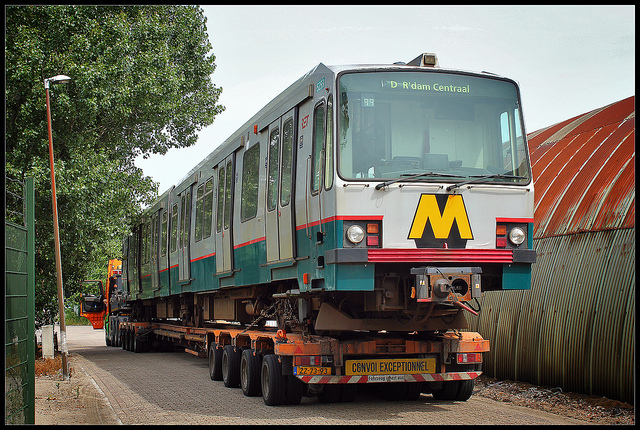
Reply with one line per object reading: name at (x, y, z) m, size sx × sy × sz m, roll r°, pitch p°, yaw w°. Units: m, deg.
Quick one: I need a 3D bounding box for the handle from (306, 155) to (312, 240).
handle at (-0.174, -0.317, 8.905) m, size 0.084 × 1.469 × 0.206 m, roll 5°, pitch -9°, yaw -20°

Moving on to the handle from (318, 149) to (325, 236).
handle at (0.056, -0.378, 8.434) m, size 0.095 × 1.384 × 0.227 m, roll 3°, pitch -9°, yaw -11°
